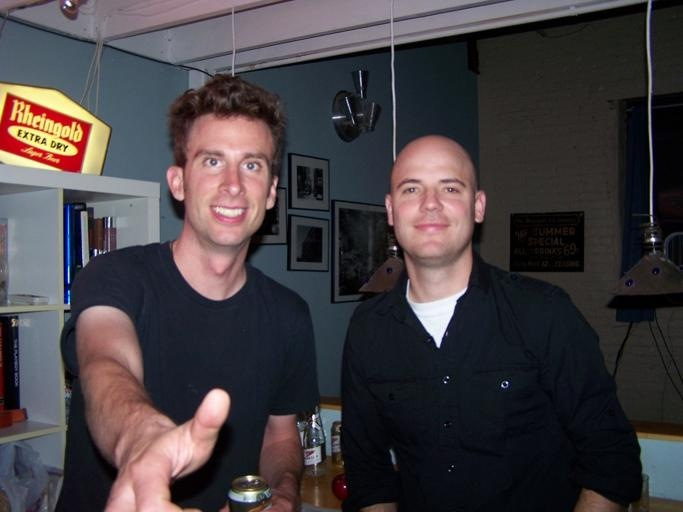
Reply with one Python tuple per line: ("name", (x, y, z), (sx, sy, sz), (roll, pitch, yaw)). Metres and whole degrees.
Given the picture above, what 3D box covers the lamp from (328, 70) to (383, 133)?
("lamp", (0.133, -1.149, 4.342), (0.319, 0.507, 0.281), (-1, 2, 39))
